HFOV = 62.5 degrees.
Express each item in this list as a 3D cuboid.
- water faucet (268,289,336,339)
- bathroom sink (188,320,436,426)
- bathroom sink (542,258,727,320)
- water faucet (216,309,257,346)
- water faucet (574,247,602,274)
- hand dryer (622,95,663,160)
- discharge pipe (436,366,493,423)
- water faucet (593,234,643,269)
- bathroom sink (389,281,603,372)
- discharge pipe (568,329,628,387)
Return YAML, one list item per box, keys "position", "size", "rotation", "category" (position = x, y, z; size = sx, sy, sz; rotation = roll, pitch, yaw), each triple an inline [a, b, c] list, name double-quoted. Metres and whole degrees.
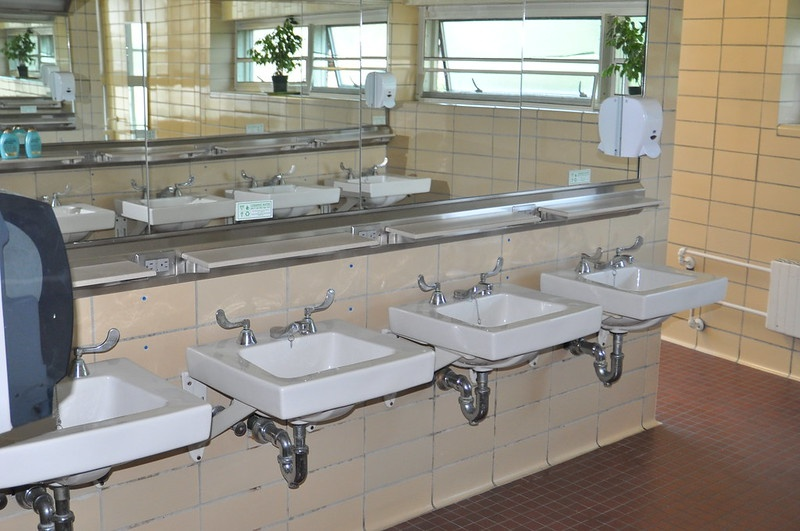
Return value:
- position: [-0.417, 0.204, 2.794]
  size: [0.292, 0.173, 0.121]
  rotation: [-8, 6, -16]
  category: "water faucet"
- position: [-0.358, 0.443, 2.650]
  size: [0.799, 0.244, 0.574]
  rotation: [-10, 18, -32]
  category: "bathroom sink"
- position: [1.190, 0.119, 3.480]
  size: [0.558, 0.188, 0.489]
  rotation: [-9, 14, -33]
  category: "bathroom sink"
- position: [-0.675, 0.255, 2.710]
  size: [0.178, 0.122, 0.078]
  rotation: [2, 7, 13]
  category: "water faucet"
- position: [1.045, -0.026, 3.738]
  size: [0.076, 0.144, 0.151]
  rotation: [-20, 33, -28]
  category: "water faucet"
- position: [1.316, -0.768, 3.642]
  size: [0.209, 0.333, 0.127]
  rotation: [4, 17, 16]
  category: "hand dryer"
- position: [0.283, 0.618, 3.184]
  size: [0.244, 0.301, 0.174]
  rotation: [0, 16, 2]
  category: "discharge pipe"
- position: [1.227, -0.062, 3.767]
  size: [0.305, 0.109, 0.051]
  rotation: [-17, 1, -9]
  category: "water faucet"
- position: [0.435, 0.307, 3.120]
  size: [0.769, 0.276, 0.603]
  rotation: [-11, 19, -36]
  category: "bathroom sink"
- position: [1.140, 0.507, 3.689]
  size: [0.171, 0.330, 0.341]
  rotation: [1, 8, 0]
  category: "discharge pipe"
